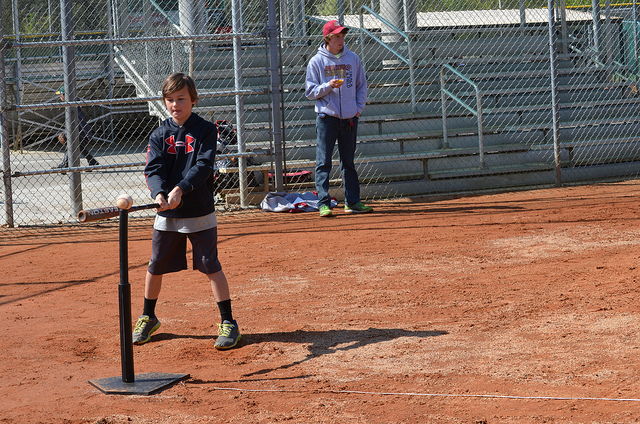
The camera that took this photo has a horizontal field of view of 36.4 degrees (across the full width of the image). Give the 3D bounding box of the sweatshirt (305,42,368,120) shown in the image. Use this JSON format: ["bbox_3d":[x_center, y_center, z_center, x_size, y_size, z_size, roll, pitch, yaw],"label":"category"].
[{"bbox_3d":[0.255,-2.043,15.097,0.929,1.214,0.418,-3,7,-5],"label":"sweatshirt"}]

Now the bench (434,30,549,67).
[{"bbox_3d":[3.636,-3.504,20.661,2.338,0.785,2.442,-2,7,6],"label":"bench"}]

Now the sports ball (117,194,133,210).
[{"bbox_3d":[-2.156,-0.106,10.734,0.168,0.158,0.157,-1,7,0],"label":"sports ball"}]

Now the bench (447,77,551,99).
[{"bbox_3d":[3.517,-2.426,18.940,2.038,0.372,1.034,-2,7,3],"label":"bench"}]
